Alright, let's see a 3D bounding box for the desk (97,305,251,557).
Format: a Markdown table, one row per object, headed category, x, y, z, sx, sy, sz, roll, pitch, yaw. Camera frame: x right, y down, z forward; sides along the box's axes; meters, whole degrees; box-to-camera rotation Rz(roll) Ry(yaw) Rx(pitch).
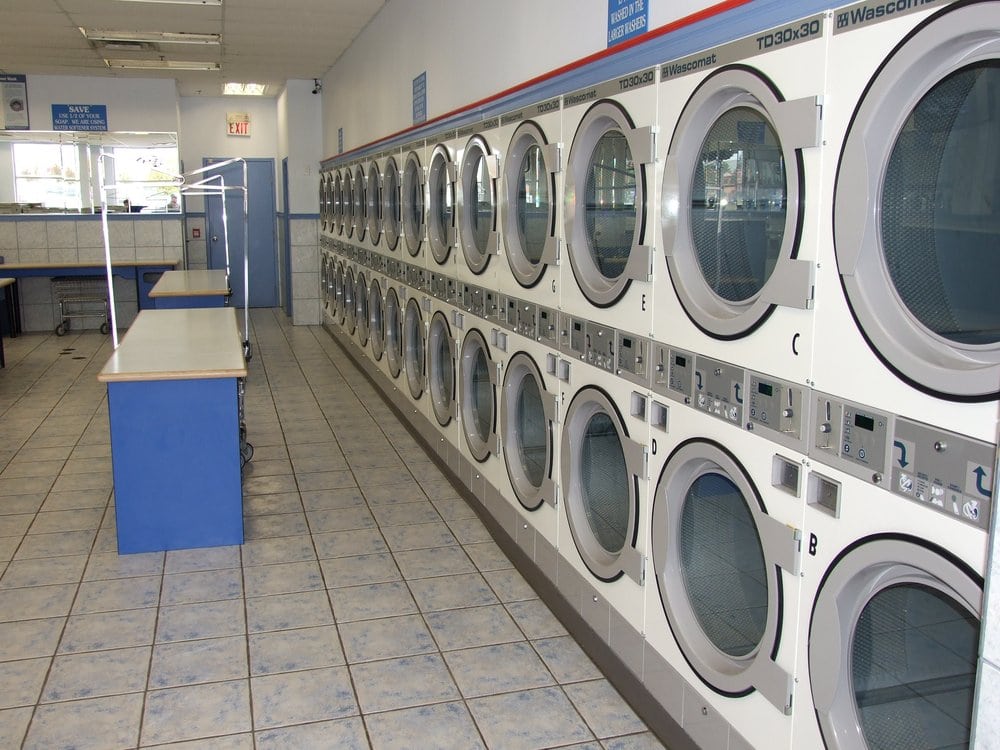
| category | x | y | z | sx | sy | sz | roll | pitch | yaw |
| --- | --- | --- | --- | --- | --- | --- | --- | --- | --- |
| desk | -2.096 | 0.400 | 4.170 | 0.491 | 0.746 | 1.414 | -3 | 14 | -11 |
